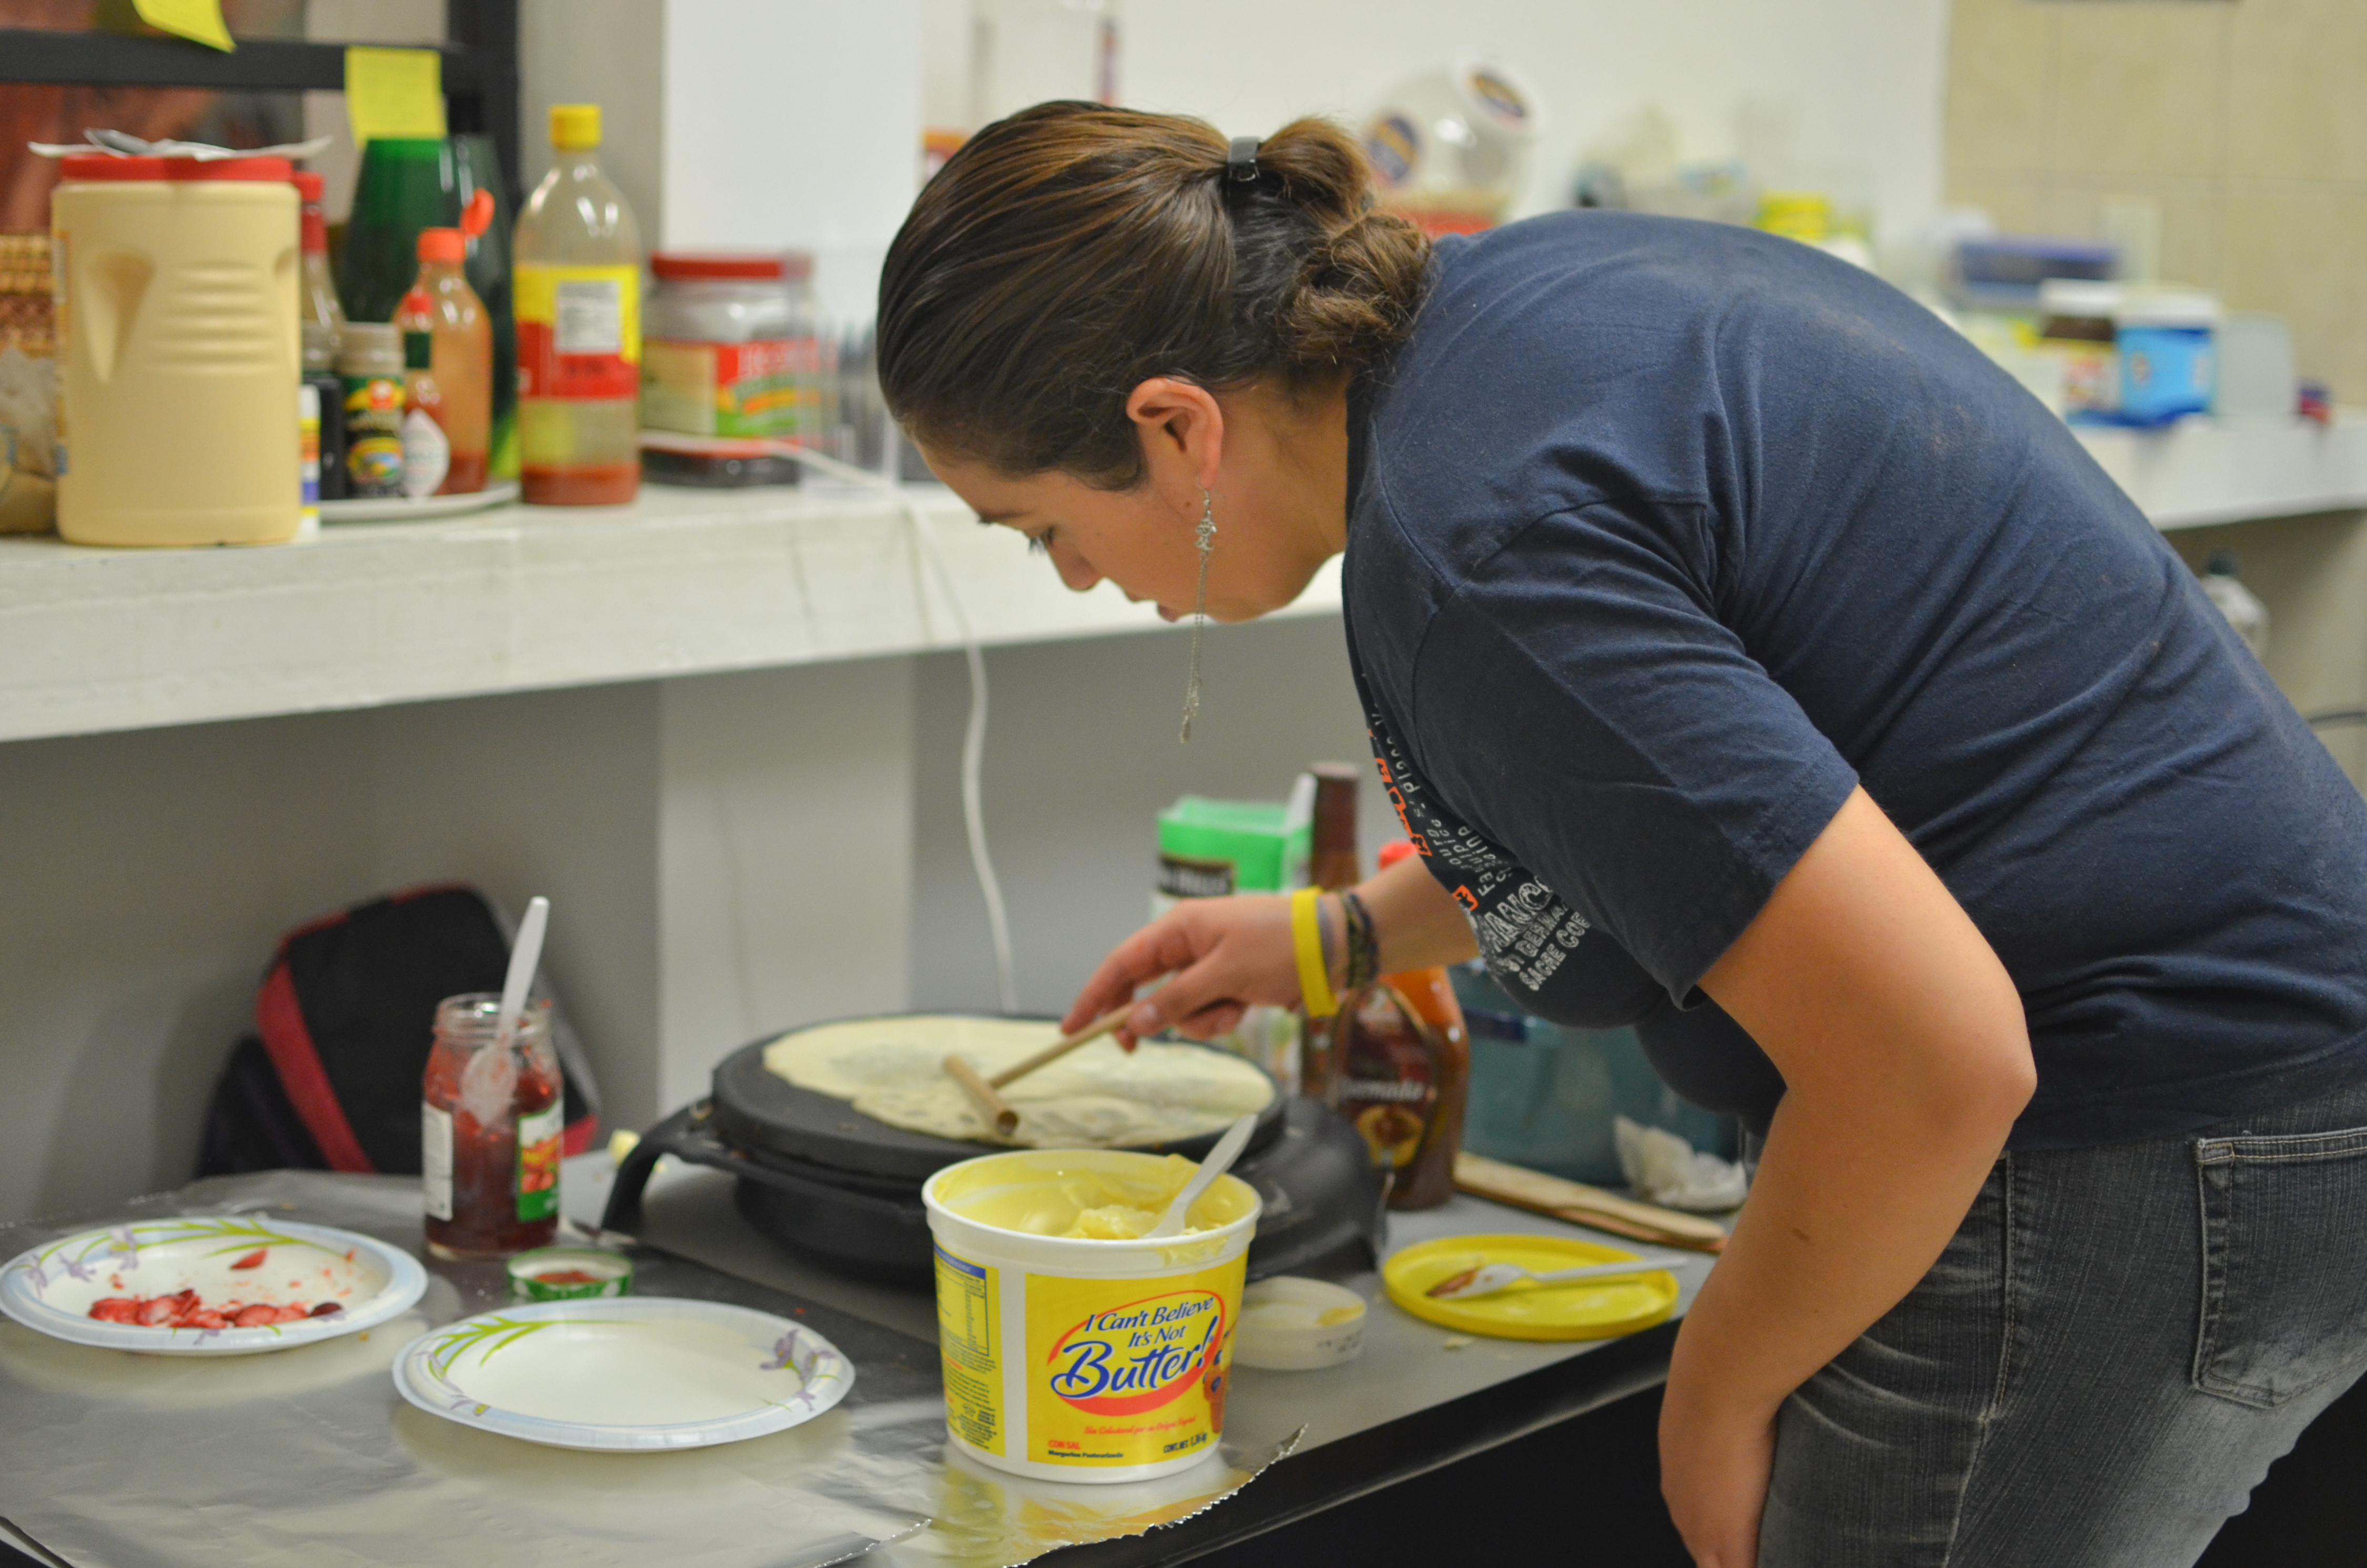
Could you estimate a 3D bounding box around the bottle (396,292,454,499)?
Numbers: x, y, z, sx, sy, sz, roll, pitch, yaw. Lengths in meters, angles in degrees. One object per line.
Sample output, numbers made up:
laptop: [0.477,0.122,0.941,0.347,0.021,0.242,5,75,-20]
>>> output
bottle: [-0.663,-0.338,1.645,0.038,0.177,0.060,-3,11,-17]

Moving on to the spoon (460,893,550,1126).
spoon: [-0.551,0.184,1.530,0.053,0.227,0.039,12,20,-3]

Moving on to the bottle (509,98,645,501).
bottle: [-0.552,-0.438,1.734,0.117,0.364,0.116,0,10,0]

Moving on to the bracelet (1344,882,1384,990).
bracelet: [0.152,0.137,1.642,0.024,0.066,0.050,-2,-3,17]

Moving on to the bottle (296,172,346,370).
bottle: [-0.748,-0.437,1.640,0.032,0.175,0.193,-5,11,-23]
